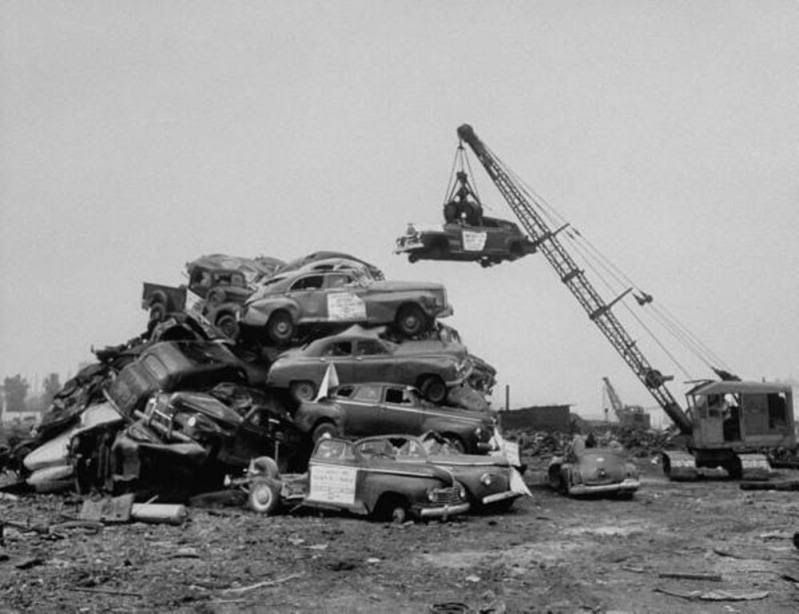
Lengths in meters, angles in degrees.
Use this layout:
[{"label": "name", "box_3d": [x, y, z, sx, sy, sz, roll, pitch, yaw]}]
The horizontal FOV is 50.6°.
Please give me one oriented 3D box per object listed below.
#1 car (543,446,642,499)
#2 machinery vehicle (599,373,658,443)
[{"label": "car", "box_3d": [3.895, 3.294, 16.983, 1.652, 1.131, 1.049, -11, -35, 15]}, {"label": "machinery vehicle", "box_3d": [10.455, 4.624, 40.135, 3.380, 2.136, 0.798, 17, 1, -33]}]
